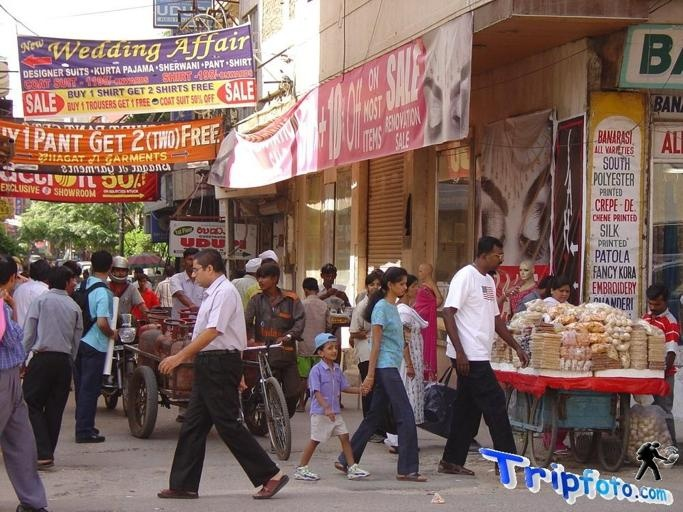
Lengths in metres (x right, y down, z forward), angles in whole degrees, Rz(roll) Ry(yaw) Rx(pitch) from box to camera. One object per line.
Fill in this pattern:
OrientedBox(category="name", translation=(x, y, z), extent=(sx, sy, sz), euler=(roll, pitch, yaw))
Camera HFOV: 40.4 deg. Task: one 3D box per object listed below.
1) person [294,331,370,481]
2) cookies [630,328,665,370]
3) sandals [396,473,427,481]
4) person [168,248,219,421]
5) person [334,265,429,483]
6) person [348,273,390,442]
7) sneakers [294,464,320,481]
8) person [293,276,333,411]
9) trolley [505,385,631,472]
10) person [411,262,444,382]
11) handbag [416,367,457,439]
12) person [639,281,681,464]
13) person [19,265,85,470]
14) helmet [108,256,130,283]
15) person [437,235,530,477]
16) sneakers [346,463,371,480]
OrientedBox(category="person", translation=(-0.162, 1.563, 9.951), extent=(0.803, 1.502, 0.882), euler=(11, 7, -29))
OrientedBox(category="cookies", translation=(3.245, 1.020, 10.061), extent=(0.341, 0.495, 0.458), euler=(2, -4, 1))
OrientedBox(category="sandals", translation=(0.737, 2.305, 9.698), extent=(0.275, 0.095, 0.112), euler=(-3, -3, 12))
OrientedBox(category="person", translation=(-2.055, 0.785, 13.561), extent=(0.846, 3.086, 0.819), euler=(3, 5, -15))
OrientedBox(category="person", translation=(0.469, 1.214, 9.803), extent=(0.958, 2.182, 0.652), euler=(0, -1, 23))
OrientedBox(category="person", translation=(0.325, 1.263, 11.968), extent=(0.509, 2.012, 0.570), euler=(0, 6, -26))
OrientedBox(category="sneakers", translation=(-0.374, 2.278, 9.785), extent=(0.292, 0.156, 0.126), euler=(1, -1, 10))
OrientedBox(category="person", translation=(-0.442, 1.159, 13.379), extent=(0.494, 1.613, 0.526), euler=(4, 7, -24))
OrientedBox(category="trolley", translation=(2.538, 1.973, 10.434), extent=(1.033, 1.043, 1.228), euler=(9, 5, 17))
OrientedBox(category="person", translation=(1.159, 0.884, 12.927), extent=(0.431, 1.718, 0.441), euler=(2, 5, 20))
OrientedBox(category="handbag", translation=(1.165, 1.749, 11.233), extent=(0.486, 0.862, 0.456), euler=(-2, 6, -16))
OrientedBox(category="person", translation=(3.657, 1.255, 10.678), extent=(0.379, 1.865, 0.730), euler=(0, -2, 25))
OrientedBox(category="person", translation=(-3.223, 1.177, 10.266), extent=(0.610, 1.870, 0.674), euler=(-1, 13, -43))
OrientedBox(category="helmet", translation=(-3.212, 0.193, 13.556), extent=(0.314, 0.445, 0.411), euler=(1, -1, -15))
OrientedBox(category="person", translation=(1.552, 1.060, 9.900), extent=(1.051, 2.528, 0.929), euler=(0, -1, 35))
OrientedBox(category="sneakers", translation=(0.180, 2.277, 9.862), extent=(0.243, 0.164, 0.110), euler=(2, 1, 1))
